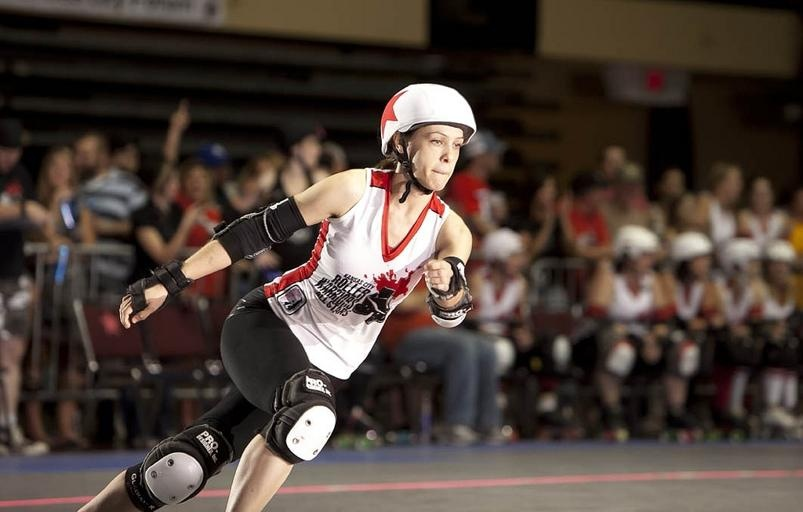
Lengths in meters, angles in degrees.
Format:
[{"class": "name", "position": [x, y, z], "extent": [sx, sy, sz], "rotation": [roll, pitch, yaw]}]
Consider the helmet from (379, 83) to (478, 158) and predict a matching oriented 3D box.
[{"class": "helmet", "position": [0.199, -1.101, 8.940], "extent": [0.479, 0.479, 0.592], "rotation": [7, 10, -37]}]

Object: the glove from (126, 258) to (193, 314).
[{"class": "glove", "position": [-1.871, 0.207, 8.745], "extent": [0.519, 0.194, 0.314], "rotation": [-36, 13, -8]}]
